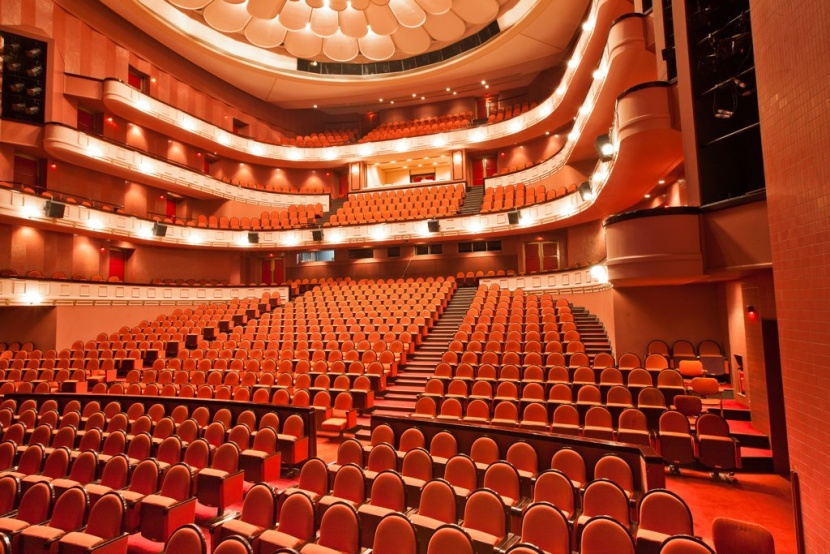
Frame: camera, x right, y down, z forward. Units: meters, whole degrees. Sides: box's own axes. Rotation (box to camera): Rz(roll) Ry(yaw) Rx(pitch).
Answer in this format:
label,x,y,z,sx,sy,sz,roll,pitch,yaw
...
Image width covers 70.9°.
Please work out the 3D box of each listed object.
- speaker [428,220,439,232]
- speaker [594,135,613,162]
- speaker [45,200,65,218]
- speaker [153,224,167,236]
label,x,y,z,sx,sy,sz,roll,pitch,yaw
speaker,0.720,-1.966,22.605,0.409,0.416,0.399,1,8,11
speaker,4.588,-3.167,14.172,0.362,0.793,1.020,-4,-4,16
speaker,-11.493,-2.152,18.620,0.182,0.559,0.599,-4,-5,26
speaker,-9.508,-1.747,21.693,0.110,0.404,0.425,3,3,32
